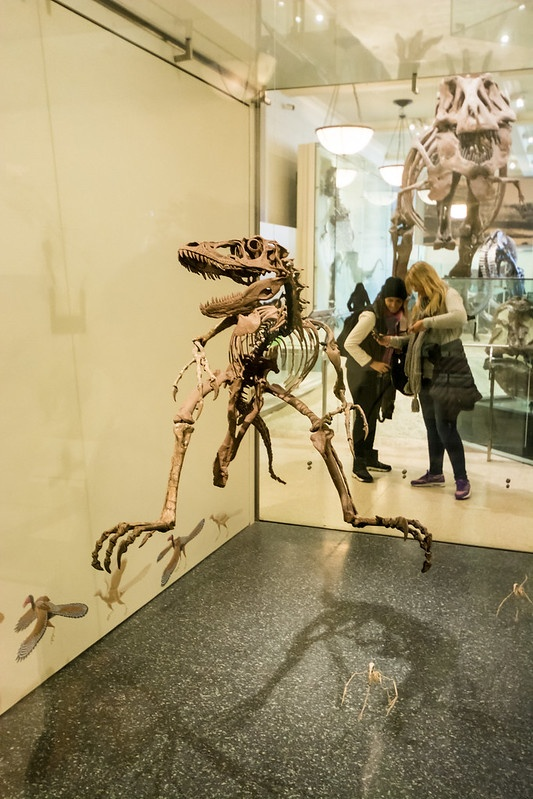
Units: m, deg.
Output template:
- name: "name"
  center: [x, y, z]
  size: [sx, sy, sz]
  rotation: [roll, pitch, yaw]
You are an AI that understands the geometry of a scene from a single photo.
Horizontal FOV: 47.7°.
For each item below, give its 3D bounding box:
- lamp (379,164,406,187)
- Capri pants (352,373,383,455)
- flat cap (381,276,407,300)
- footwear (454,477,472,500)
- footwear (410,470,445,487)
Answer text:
- name: "lamp"
  center: [0.587, -1.049, 2.819]
  size: [0.097, 0.066, 0.098]
  rotation: [13, 13, 4]
- name: "Capri pants"
  center: [0.508, 0.069, 3.059]
  size: [0.160, 0.488, 0.180]
  rotation: [4, 16, 15]
- name: "flat cap"
  center: [0.609, -0.525, 2.917]
  size: [0.097, 0.096, 0.108]
  rotation: [7, 23, -7]
- name: "footwear"
  center: [0.970, 0.445, 2.999]
  size: [0.056, 0.047, 0.126]
  rotation: [-1, 40, -6]
- name: "footwear"
  center: [0.824, 0.407, 3.081]
  size: [0.166, 0.082, 0.057]
  rotation: [3, 9, 10]
